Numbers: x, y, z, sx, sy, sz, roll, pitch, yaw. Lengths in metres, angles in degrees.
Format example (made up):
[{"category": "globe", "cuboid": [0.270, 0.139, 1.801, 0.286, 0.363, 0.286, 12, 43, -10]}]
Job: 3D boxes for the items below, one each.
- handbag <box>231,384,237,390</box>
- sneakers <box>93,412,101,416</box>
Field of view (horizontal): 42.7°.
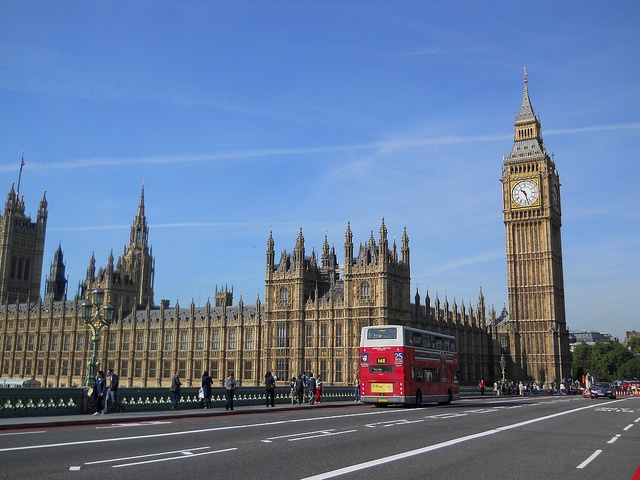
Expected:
[{"category": "handbag", "cuboid": [-4.982, 8.567, 47.932, 0.283, 0.514, 0.272, 3, -7, -35]}, {"category": "sneakers", "cuboid": [-11.652, 9.002, 42.529, 0.168, 0.128, 0.305, 1, 6, 25]}]
